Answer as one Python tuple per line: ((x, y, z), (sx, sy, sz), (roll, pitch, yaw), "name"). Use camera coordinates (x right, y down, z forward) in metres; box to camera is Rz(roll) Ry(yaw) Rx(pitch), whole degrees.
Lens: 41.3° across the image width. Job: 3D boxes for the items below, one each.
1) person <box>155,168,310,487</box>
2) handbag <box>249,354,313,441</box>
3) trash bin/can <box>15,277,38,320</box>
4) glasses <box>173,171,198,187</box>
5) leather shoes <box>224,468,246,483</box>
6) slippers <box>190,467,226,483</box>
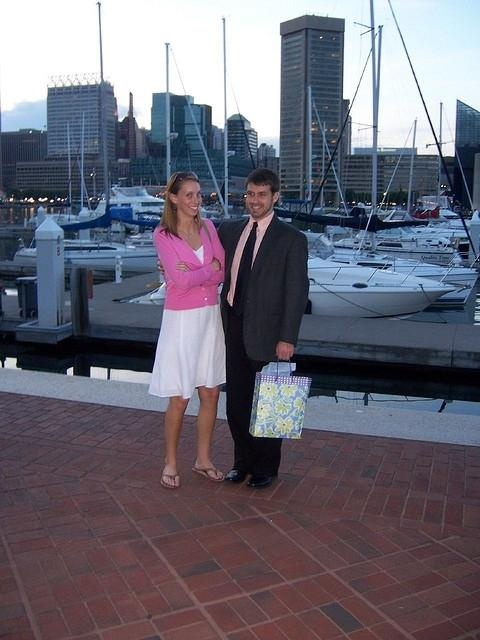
((-0.051, 0.051, 3.334), (0.792, 1.635, 0.403), (2, 8, 5), "person")
((0.197, 0.421, 3.137), (0.273, 0.311, 0.110), (1, 8, -3), "handbag")
((-3.166, -0.326, 9.483), (0.286, 0.627, 0.533), (-1, 8, -19), "trash bin/can")
((-0.284, -0.707, 3.205), (0.073, 0.051, 0.090), (-5, 6, -15), "glasses")
((-0.020, 0.841, 3.412), (0.053, 0.054, 0.133), (0, -8, 23), "leather shoes")
((-0.171, 0.833, 3.463), (0.127, 0.029, 0.067), (11, 19, 36), "slippers")
